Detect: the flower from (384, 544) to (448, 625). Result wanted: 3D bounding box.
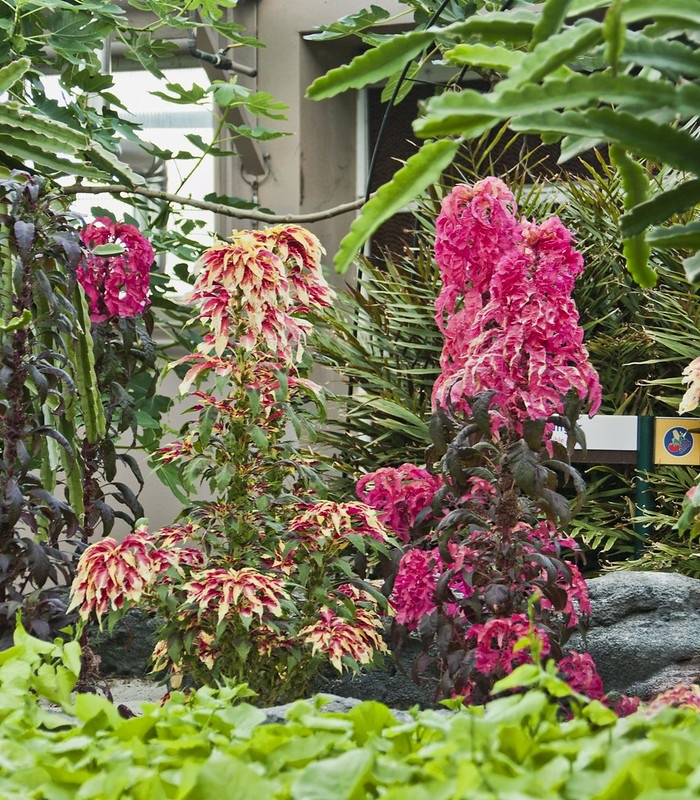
[{"bbox_3d":[0.113,0.360,2.740,0.150,0.129,0.094,-3,-19,37],"label":"flower"}]
